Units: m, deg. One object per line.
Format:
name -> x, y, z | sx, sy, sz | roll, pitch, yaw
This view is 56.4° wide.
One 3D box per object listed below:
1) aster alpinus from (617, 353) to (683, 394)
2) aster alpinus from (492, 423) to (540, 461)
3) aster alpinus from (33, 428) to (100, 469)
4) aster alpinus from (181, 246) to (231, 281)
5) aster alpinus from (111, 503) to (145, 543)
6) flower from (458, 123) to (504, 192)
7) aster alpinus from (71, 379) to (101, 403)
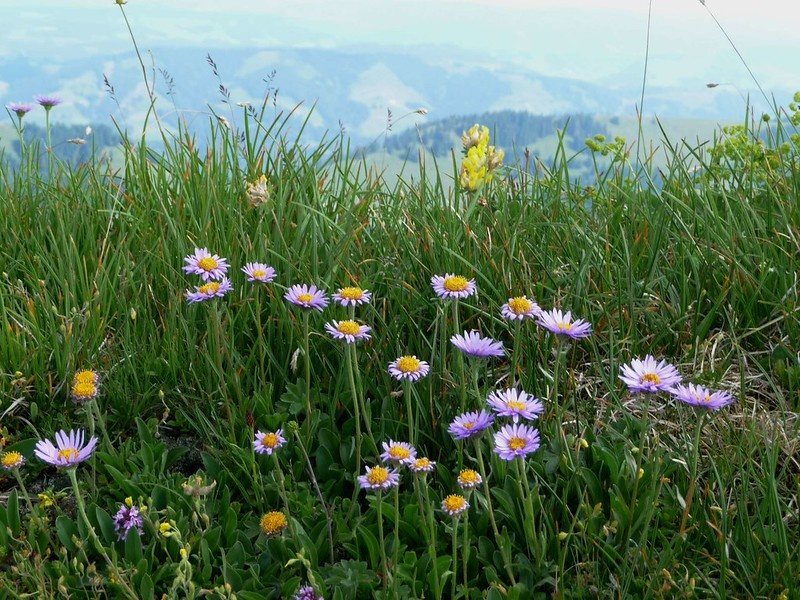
aster alpinus -> 0.761, 0.244, 2.280 | 0.172, 0.124, 0.203 | -3, 6, 25
aster alpinus -> 0.338, 0.429, 2.270 | 0.186, 0.088, 0.181 | 5, -5, -40
aster alpinus -> -1.040, 0.477, 2.373 | 0.162, 0.115, 0.177 | 7, 3, -37
aster alpinus -> -0.687, -0.093, 2.674 | 0.133, 0.058, 0.151 | 9, 30, -37
aster alpinus -> -0.940, 0.777, 2.590 | 0.092, 0.121, 0.104 | -21, 46, -24
flower -> 0.353, -0.647, 3.356 | 0.184, 0.246, 0.310 | -4, 26, 0
aster alpinus -> -1.037, 0.314, 2.454 | 0.061, 0.037, 0.077 | 14, 40, 9
